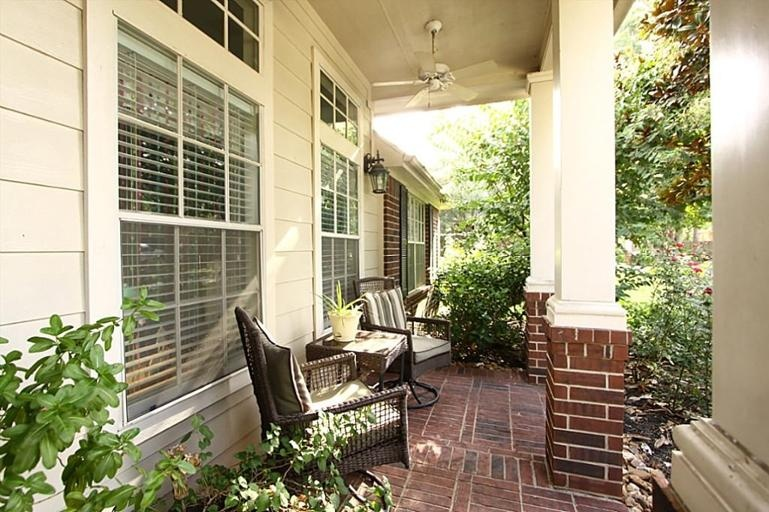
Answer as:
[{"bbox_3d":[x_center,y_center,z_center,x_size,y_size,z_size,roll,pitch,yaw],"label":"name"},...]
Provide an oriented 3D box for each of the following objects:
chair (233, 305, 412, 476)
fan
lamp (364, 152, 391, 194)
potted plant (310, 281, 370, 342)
[{"bbox_3d":[-0.405,0.961,3.634,1.306,1.530,1.179,-4,2,-17],"label":"chair"},{"bbox_3d":[0.530,-1.965,4.804,0.874,0.559,0.817,15,27,36],"label":"fan"},{"bbox_3d":[-0.090,-0.987,5.637,0.266,0.490,0.275,-3,-4,19],"label":"lamp"},{"bbox_3d":[-0.352,0.545,4.514,0.480,0.464,0.474,6,-10,-35],"label":"potted plant"}]
